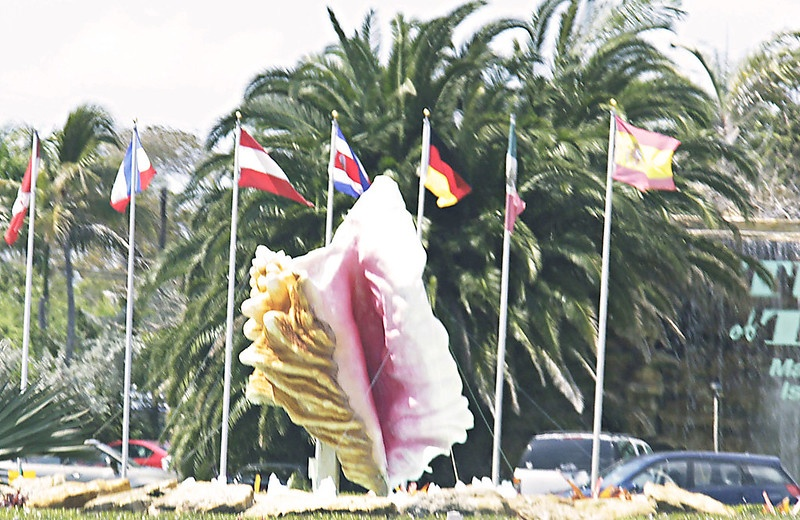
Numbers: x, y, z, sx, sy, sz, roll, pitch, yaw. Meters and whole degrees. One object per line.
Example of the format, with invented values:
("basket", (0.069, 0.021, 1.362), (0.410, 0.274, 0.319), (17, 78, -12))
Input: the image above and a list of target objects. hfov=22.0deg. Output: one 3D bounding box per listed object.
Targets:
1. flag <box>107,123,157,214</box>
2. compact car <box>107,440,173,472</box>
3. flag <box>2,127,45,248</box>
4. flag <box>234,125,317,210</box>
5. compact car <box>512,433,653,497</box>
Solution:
("flag", (-8.632, -2.900, 65.472), (1.159, 2.586, 1.869), (2, -12, -14))
("compact car", (-8.471, 6.444, 68.049), (2.002, 0.814, 1.022), (14, -20, 27))
("flag", (-12.559, -2.247, 67.726), (0.958, 3.578, 2.523), (2, -12, -12))
("flag", (-4.039, -2.807, 65.691), (3.110, 2.689, 0.369), (21, -24, -16))
("compact car", (5.101, 6.407, 62.011), (1.803, 1.659, 3.543), (-2, -2, 27))
